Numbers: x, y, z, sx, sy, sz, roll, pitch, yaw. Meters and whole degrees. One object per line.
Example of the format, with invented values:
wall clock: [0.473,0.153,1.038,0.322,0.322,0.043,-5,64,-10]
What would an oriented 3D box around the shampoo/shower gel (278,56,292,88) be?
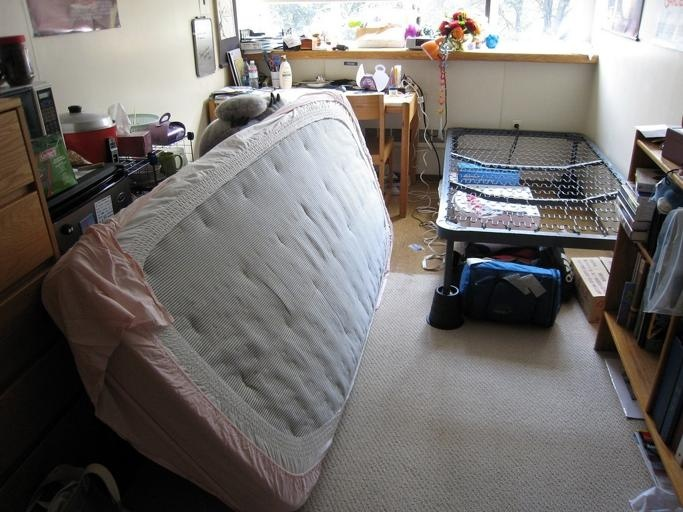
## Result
shampoo/shower gel: [-0.483,-1.561,4.012,0.099,0.239,0.202,0,26,7]

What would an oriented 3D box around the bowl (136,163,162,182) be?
bowl: [-0.877,-0.378,2.149,0.084,0.083,0.084,3,34,-2]

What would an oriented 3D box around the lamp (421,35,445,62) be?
lamp: [0.748,-1.700,3.900,0.175,0.187,0.179,2,27,11]

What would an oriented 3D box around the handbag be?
handbag: [0.898,0.237,2.565,0.551,0.442,0.333,7,2,7]

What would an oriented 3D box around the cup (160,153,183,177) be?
cup: [-0.830,-0.459,2.309,0.132,0.098,0.084,-19,30,-28]

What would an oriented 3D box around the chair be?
chair: [0.232,-0.898,3.821,0.332,0.863,0.741,-1,26,4]

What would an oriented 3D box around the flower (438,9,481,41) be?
flower: [0.940,-1.850,3.811,0.250,0.201,0.270,-1,29,10]
